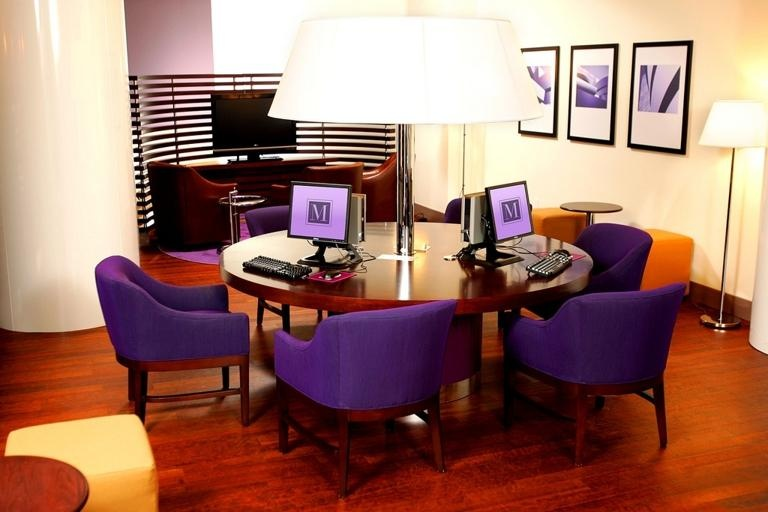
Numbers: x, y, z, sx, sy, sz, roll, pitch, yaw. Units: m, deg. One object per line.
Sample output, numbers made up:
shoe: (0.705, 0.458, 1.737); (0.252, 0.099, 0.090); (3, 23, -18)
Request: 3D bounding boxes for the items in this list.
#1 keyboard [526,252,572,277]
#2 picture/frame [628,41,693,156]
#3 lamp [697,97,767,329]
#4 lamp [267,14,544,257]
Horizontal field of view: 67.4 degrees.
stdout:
keyboard: (1.156, 0.061, 3.949); (0.158, 0.058, 0.330); (11, 21, 35)
picture/frame: (2.937, -1.683, 6.139); (0.212, 1.140, 0.842); (-8, 18, -17)
lamp: (3.207, -0.395, 5.416); (0.538, 2.052, 0.789); (10, 21, 35)
lamp: (0.038, -0.814, 3.323); (0.954, 0.810, 0.942); (-2, 11, -12)
